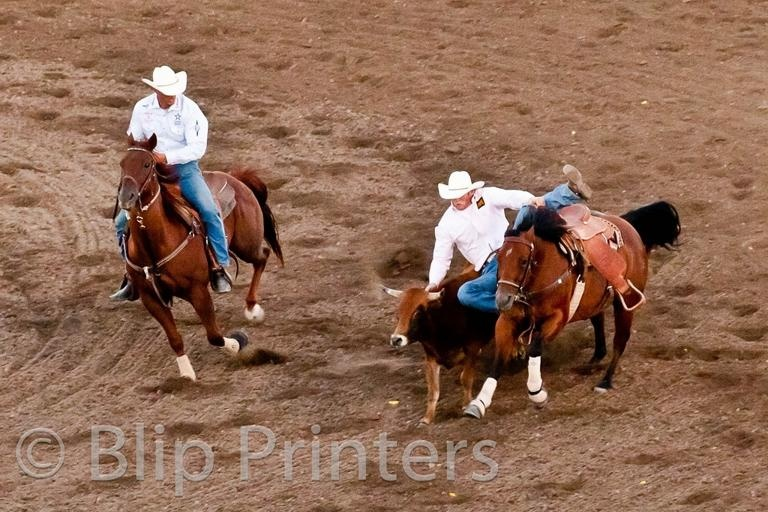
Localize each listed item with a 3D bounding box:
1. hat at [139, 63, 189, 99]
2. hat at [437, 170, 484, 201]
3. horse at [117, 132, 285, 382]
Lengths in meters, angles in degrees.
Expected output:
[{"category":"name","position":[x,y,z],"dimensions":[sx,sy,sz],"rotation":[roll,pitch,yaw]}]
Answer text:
[{"category":"hat","position":[-3.088,-2.506,16.473],"dimensions":[0.487,0.445,0.737],"rotation":[0,52,-14]},{"category":"hat","position":[1.075,-0.947,15.974],"dimensions":[0.518,0.208,0.518],"rotation":[-2,21,30]},{"category":"horse","position":[-2.735,-0.150,16.637],"dimensions":[2.347,3.062,3.112],"rotation":[19,51,0]}]
